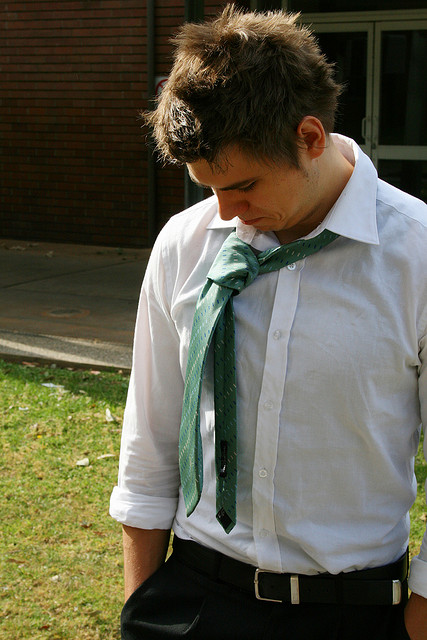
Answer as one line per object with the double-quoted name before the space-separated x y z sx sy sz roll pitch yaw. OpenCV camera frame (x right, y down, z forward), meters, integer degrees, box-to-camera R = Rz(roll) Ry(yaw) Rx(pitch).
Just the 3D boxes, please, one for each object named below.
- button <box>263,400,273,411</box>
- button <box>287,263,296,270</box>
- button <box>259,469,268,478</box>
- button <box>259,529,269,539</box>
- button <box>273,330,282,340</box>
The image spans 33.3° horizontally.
"button" 0.098 0.159 1.313 0.019 0.019 0.005 9 14 35
"button" 0.144 -0.100 1.340 0.016 0.013 0.005 1 -5 11
"button" 0.091 0.284 1.318 0.020 0.017 0.004 -7 -4 15
"button" 0.091 0.401 1.336 0.019 0.016 0.031 6 -20 11
"button" 0.116 0.028 1.312 0.016 0.015 0.004 34 13 33
